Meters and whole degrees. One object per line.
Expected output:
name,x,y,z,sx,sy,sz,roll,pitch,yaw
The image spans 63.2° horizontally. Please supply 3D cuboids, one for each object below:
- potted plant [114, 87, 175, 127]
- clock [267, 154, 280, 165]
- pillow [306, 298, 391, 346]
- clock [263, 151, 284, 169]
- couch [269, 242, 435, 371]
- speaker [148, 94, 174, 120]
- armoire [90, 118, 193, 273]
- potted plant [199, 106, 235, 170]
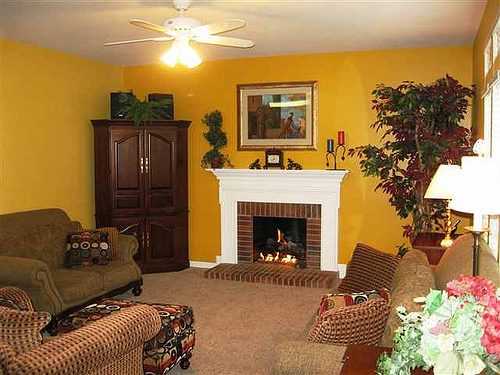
potted plant,-1.624,-1.215,6.272,0.689,0.288,0.683,3,1,37
clock,0.358,-0.429,6.150,0.157,0.110,0.023,2,4,18
pillow,0.624,0.829,2.489,0.474,0.138,0.465,-4,1,0
clock,0.350,-0.422,6.280,0.279,0.250,0.277,0,1,8
couch,0.756,0.897,3.194,0.422,0.382,1.153,7,9,28
speaker,-1.409,-1.275,6.366,0.281,0.546,0.410,3,7,32
armoire,-1.729,0.154,6.601,1.573,2.396,0.685,-1,5,-16
potted plant,-0.558,-0.785,6.456,0.598,1.026,0.368,0,7,8
